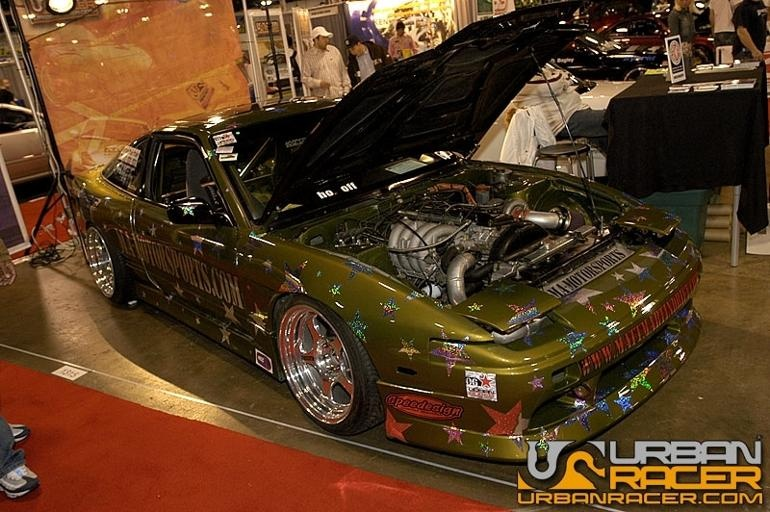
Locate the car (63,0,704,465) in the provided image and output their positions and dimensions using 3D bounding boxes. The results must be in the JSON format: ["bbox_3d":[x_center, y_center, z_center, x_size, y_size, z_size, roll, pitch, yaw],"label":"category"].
[{"bbox_3d":[-0.325,-0.250,4.496,5.004,2.344,2.733,22,44,34],"label":"car"}]

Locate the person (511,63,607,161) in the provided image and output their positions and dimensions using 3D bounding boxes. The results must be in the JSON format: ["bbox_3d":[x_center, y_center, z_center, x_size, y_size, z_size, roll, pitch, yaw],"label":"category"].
[{"bbox_3d":[2.163,-1.839,6.573,1.433,0.470,0.772,5,-19,-16],"label":"person"}]
